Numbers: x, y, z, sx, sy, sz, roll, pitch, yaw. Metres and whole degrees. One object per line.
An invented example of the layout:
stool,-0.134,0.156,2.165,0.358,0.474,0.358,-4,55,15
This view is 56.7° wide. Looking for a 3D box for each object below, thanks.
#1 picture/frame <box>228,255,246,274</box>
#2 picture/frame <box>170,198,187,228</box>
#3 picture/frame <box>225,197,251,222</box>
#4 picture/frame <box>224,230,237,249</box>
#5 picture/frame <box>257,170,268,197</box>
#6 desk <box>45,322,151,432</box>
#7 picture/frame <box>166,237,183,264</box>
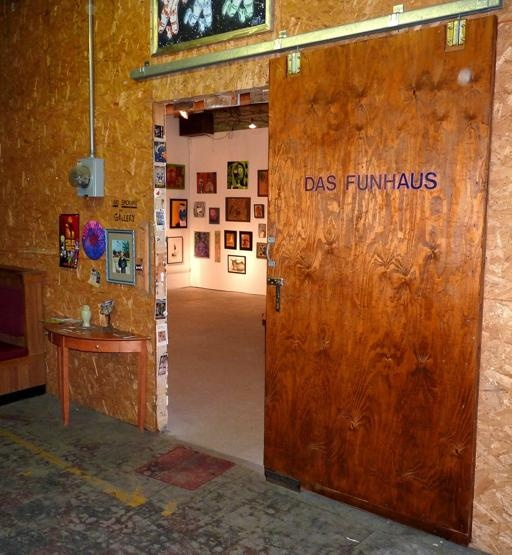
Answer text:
picture/frame,-0.450,-0.360,11.132,0.347,0.359,0.025,4,6,37
picture/frame,-1.896,-1.583,11.357,0.042,0.767,0.586,10,10,33
picture/frame,-0.407,-1.592,10.866,0.474,0.494,0.036,5,4,38
picture/frame,-0.604,-0.939,11.109,0.029,0.481,0.325,-7,13,-44
picture/frame,0.118,-2.078,10.398,0.305,0.580,0.057,4,6,43
desk,-1.482,0.821,4.067,1.047,0.857,0.413,7,7,28
picture/frame,-1.963,-0.695,11.547,0.142,0.674,0.542,3,6,35
